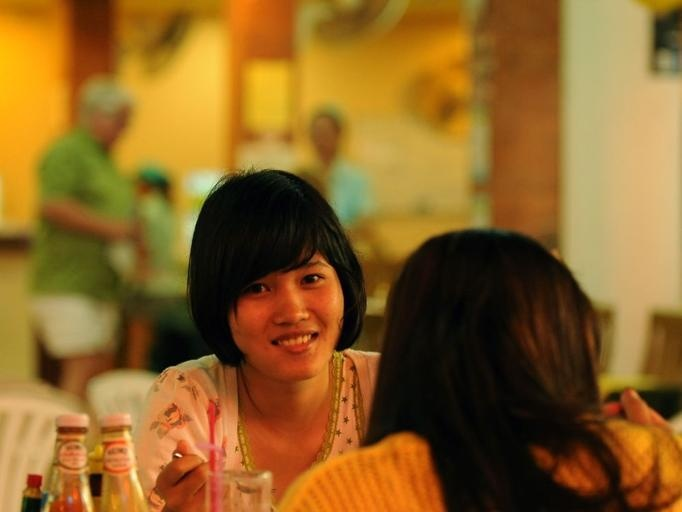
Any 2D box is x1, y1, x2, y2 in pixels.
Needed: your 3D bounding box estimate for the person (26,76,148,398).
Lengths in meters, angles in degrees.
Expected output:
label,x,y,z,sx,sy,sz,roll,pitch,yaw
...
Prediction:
label,x,y,z,sx,sy,sz,roll,pitch,yaw
person,-1.094,-0.091,2.998,0.393,1.361,0.456,0,43,-15
